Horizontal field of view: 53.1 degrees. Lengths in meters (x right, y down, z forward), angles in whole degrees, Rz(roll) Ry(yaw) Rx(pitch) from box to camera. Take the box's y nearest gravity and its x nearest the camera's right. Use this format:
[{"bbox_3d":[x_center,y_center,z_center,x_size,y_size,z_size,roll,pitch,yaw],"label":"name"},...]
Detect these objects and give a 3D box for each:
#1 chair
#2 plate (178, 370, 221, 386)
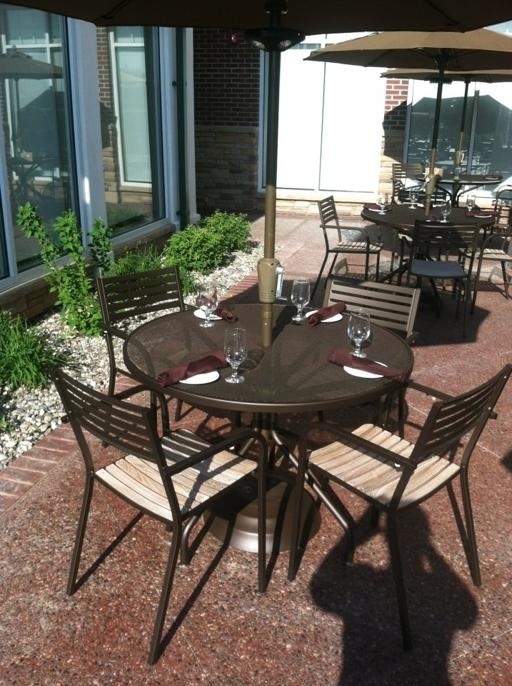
[{"bbox_3d":[0.333,0.107,2.179,1.715,1.036,1.243,14,31,30],"label":"chair"},{"bbox_3d":[-0.206,0.138,2.001,0.171,0.021,0.090,-18,28,-39],"label":"plate"}]
